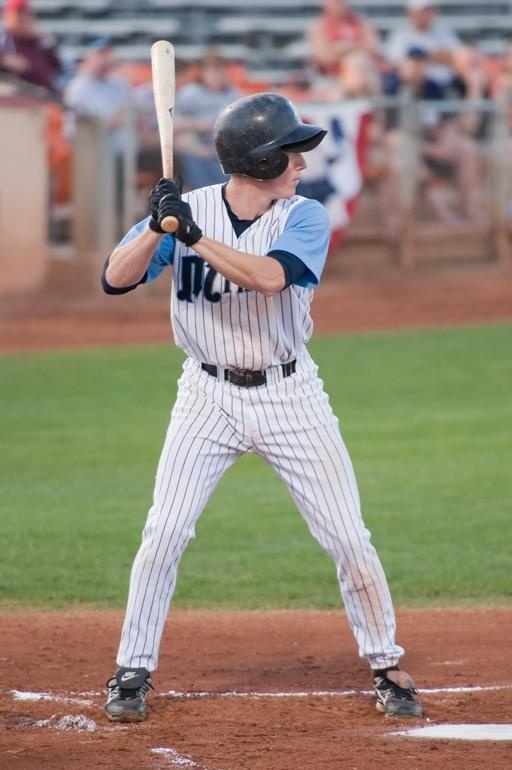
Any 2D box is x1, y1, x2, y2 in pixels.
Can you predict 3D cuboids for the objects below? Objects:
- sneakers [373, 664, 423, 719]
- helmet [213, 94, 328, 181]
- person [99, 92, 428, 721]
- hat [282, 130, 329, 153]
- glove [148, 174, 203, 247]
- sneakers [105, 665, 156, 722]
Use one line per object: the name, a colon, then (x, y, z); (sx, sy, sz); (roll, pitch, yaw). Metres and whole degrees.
sneakers: (0.376, 0.832, 3.211); (0.087, 0.072, 0.175); (3, -10, -25)
helmet: (0.045, -0.679, 3.235); (0.315, 0.208, 0.201); (0, 26, 9)
person: (0.005, 0.065, 3.229); (0.843, 1.690, 0.429); (-1, 10, -6)
hat: (0.133, -0.637, 3.193); (0.103, 0.029, 0.075); (-20, 20, 5)
glove: (-0.209, -0.437, 3.024); (0.120, 0.169, 0.179); (-2, 9, -12)
sneakers: (-0.340, 0.827, 3.187); (0.121, 0.136, 0.091); (-1, 9, -10)
